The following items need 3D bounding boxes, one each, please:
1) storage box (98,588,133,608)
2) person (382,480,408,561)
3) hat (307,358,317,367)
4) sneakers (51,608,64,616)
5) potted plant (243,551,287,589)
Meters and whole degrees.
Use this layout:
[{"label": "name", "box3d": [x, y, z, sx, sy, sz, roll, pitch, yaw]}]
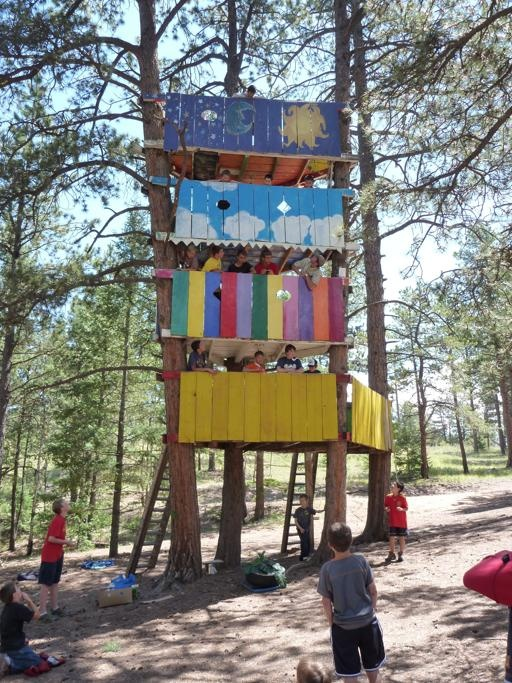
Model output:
[{"label": "storage box", "box3d": [-2.107, 3.880, 9.070, 0.573, 0.237, 0.299, 4, -13, -24]}, {"label": "person", "box3d": [2.618, 3.363, 11.358, 0.421, 1.364, 2.192, -4, -13, 12]}, {"label": "hat", "box3d": [1.038, 0.412, 10.978, 0.196, 0.106, 0.272, 1, -5, 5]}, {"label": "sneakers", "box3d": [-2.782, 3.812, 8.387, 0.197, 0.082, 0.070, 2, 0, -23]}, {"label": "potted plant", "box3d": [0.156, 3.671, 9.578, 0.587, 0.546, 0.619, 4, -13, -23]}]
